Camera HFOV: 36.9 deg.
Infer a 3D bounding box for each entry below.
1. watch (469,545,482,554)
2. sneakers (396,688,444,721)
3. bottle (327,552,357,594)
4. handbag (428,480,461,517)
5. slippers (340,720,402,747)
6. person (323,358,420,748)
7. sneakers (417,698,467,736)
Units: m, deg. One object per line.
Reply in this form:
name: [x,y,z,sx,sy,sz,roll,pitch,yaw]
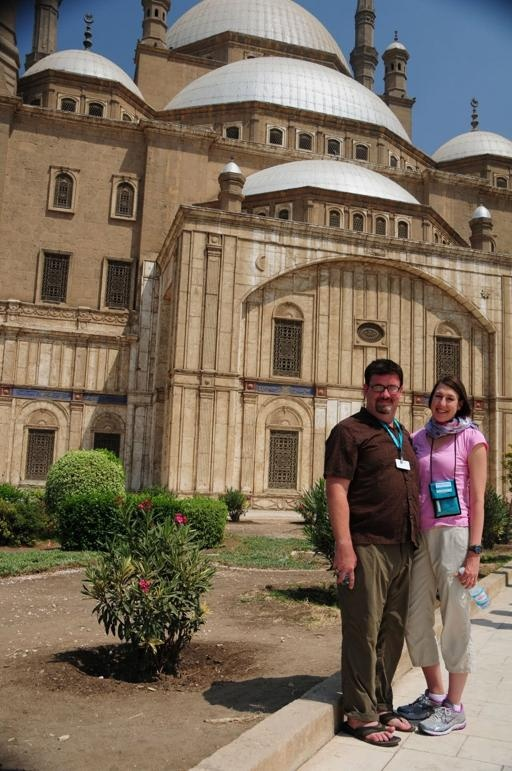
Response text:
watch: [1.318,0.978,4.577,0.060,0.059,0.058,-4,-5,-8]
sneakers: [0.992,1.919,4.612,0.316,0.149,0.118,-2,-5,-5]
bottle: [0.514,1.057,4.440,0.165,0.220,0.076,0,6,-7]
handbag: [1.170,0.703,4.721,0.182,0.231,0.078,-9,-29,8]
slippers: [0.648,1.936,4.289,0.246,0.080,0.123,-3,1,40]
person: [0.720,0.919,4.558,0.389,2.182,0.671,-6,-9,42]
sneakers: [1.082,1.925,4.469,0.328,0.154,0.111,3,-5,-37]
